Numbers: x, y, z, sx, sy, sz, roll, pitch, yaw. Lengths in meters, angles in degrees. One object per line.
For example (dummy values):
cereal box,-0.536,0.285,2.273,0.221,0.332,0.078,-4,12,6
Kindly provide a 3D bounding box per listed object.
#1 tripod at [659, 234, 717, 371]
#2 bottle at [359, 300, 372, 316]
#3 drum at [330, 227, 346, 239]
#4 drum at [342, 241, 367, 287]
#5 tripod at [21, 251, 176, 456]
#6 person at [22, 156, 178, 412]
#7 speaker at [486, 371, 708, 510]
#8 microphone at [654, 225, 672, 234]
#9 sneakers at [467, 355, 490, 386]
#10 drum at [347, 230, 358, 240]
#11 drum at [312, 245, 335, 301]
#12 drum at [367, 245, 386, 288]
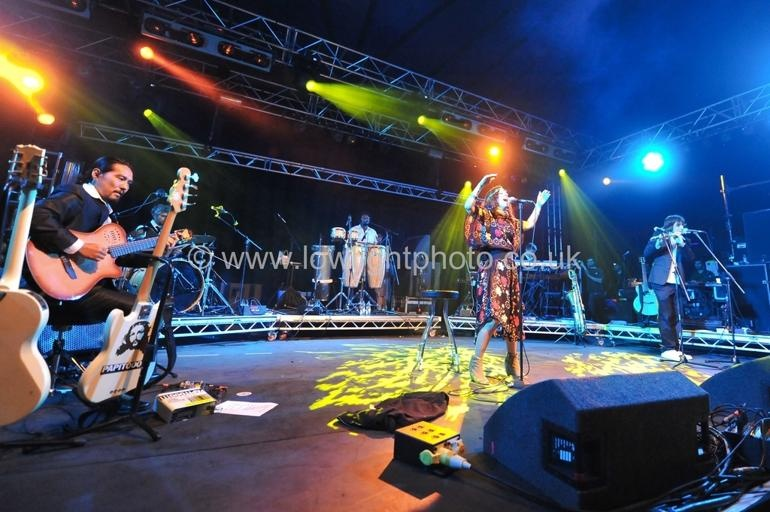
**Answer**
tripod,4.804,0.579,7.796,0.648,2.315,0.527,7,-5,-33
bottle,-0.447,1.155,10.407,0.270,0.281,0.968,5,-5,-2
drum,-1.094,-0.558,10.967,0.291,0.253,0.290,2,-2,-15
drum,-0.715,0.203,10.896,0.526,1.038,0.310,5,-5,-3
tripod,-3.116,1.072,5.034,0.925,1.845,1.023,-24,-39,21
person,-3.221,0.111,5.109,0.431,2.934,1.375,-5,-23,27
speaker,1.902,1.394,4.533,1.708,0.972,1.172,4,-7,-23
microphone,4.714,-0.445,8.090,0.283,0.138,0.389,2,-2,-6
sneakers,1.238,1.493,6.134,0.248,0.360,0.239,3,-5,15
drum,-0.739,-0.486,10.857,0.228,0.260,0.224,2,-4,-28
drum,-1.478,0.401,10.971,0.474,1.378,0.524,5,-5,-8
drum,-0.238,0.252,11.054,0.463,1.010,0.217,5,-5,-10
